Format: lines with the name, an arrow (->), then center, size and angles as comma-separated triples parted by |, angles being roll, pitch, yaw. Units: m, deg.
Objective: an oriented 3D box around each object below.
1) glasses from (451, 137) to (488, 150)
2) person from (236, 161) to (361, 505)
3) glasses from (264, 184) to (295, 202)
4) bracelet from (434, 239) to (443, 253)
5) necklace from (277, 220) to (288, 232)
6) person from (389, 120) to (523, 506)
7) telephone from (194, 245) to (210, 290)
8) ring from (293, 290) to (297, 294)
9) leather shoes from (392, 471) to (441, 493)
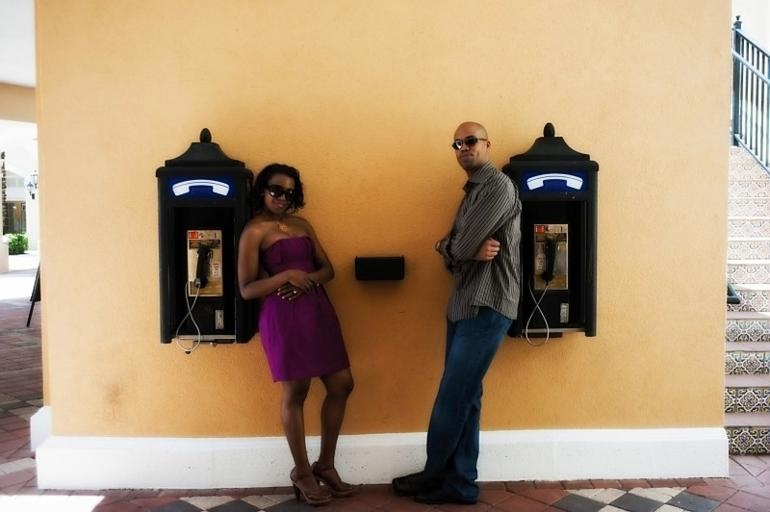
glasses -> 0.656, -0.855, 5.670 | 0.254, 0.109, 0.068 | 0, 14, 3
person -> -0.652, 0.595, 5.839 | 0.938, 2.541, 0.627 | 11, 18, 38
glasses -> -0.810, -0.488, 5.776 | 0.221, 0.134, 0.101 | -2, 14, -8
bracelet -> 0.427, -0.075, 5.866 | 0.065, 0.073, 0.083 | 0, 5, 7
necklace -> -0.799, -0.232, 5.829 | 0.073, 0.070, 0.017 | 5, -27, -36
person -> 0.628, 0.592, 5.760 | 0.609, 2.578, 0.920 | 12, 19, 41
telephone -> -1.438, 0.080, 5.833 | 0.137, 0.346, 0.074 | -2, 14, -5
ring -> -0.694, 0.273, 5.729 | 0.032, 0.022, 0.018 | 2, 13, 6
leather shoes -> 0.234, 1.773, 5.927 | 0.439, 0.189, 0.155 | 1, 4, 3
